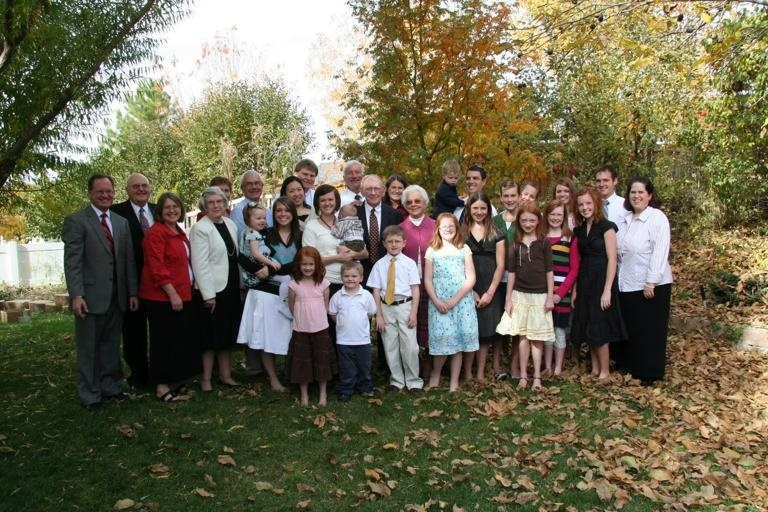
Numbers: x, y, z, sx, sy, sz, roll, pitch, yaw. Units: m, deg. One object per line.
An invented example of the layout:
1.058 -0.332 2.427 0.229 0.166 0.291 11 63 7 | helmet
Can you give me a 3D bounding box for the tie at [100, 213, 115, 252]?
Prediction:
-3.581 -0.313 7.143 0.070 0.530 0.136 -29 -27 35 | tie
